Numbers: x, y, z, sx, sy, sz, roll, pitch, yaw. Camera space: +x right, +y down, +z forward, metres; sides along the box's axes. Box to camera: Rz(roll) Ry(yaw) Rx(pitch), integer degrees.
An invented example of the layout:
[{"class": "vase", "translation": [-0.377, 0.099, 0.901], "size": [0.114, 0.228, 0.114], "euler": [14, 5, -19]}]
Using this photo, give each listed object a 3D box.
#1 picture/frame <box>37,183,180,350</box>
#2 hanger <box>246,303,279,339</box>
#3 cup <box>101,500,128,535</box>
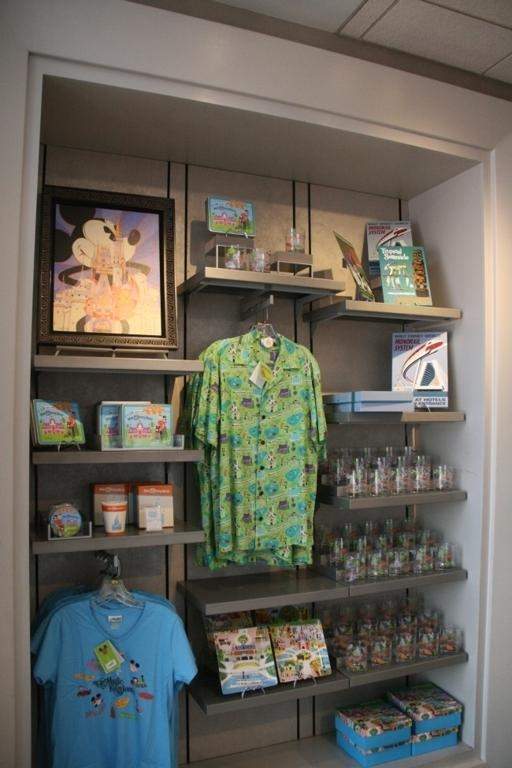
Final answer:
[{"class": "picture/frame", "translation": [-0.561, -0.416, 2.379], "size": [0.613, 0.727, 0.053], "euler": [3, -10, -25]}, {"class": "hanger", "translation": [0.035, -0.259, 2.716], "size": [0.141, 0.135, 0.161], "euler": [1, 2, 38]}, {"class": "cup", "translation": [-0.471, 0.451, 2.143], "size": [0.095, 0.097, 0.095], "euler": [-2, -11, 0]}]
